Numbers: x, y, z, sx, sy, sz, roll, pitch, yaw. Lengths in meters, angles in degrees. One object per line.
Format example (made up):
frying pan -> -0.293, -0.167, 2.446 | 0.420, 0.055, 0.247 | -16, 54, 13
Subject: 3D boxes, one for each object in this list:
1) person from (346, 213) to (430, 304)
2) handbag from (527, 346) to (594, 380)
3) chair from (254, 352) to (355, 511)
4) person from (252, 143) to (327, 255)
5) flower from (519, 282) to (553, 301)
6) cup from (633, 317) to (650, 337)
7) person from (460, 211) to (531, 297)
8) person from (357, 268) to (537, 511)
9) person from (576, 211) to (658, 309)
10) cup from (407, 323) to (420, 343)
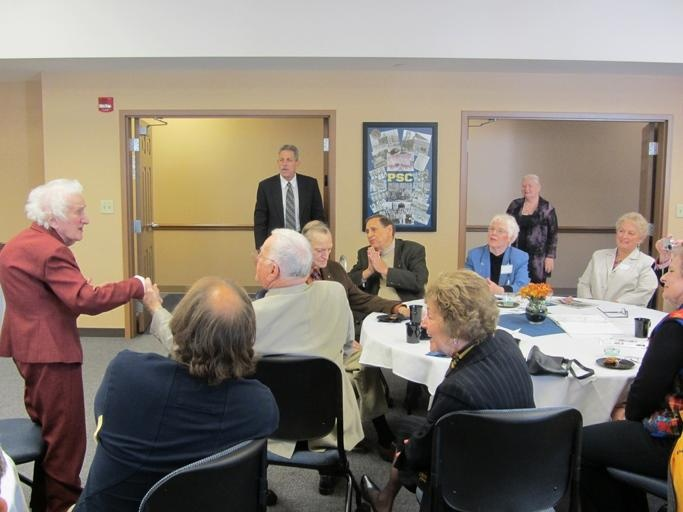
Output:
person -> 0.349, 0.215, 4.170 | 0.546, 0.998, 0.457 | 0, -1, 11
handbag -> 1.022, 0.484, 2.575 | 0.211, 0.084, 0.163 | 0, -1, 20
chair -> -0.154, 0.694, 2.338 | 0.445, 0.696, 0.533 | 1, 4, 8
person -> -0.516, -0.203, 5.594 | 0.686, 1.772, 0.551 | -6, 24, -17
flower -> 1.148, 0.204, 3.161 | 0.117, 0.088, 0.120 | -3, 5, -20
cup -> 1.641, 0.392, 2.979 | 0.098, 0.104, 0.084 | 1, -1, 23
person -> 1.178, 0.082, 4.168 | 0.500, 0.738, 0.487 | 6, 9, 41
person -> 0.533, 0.455, 2.470 | 0.767, 1.087, 0.669 | 3, 7, 33
person -> 2.168, 0.061, 4.300 | 0.455, 0.789, 0.582 | 1, 5, -37
cup -> 0.378, 0.409, 2.870 | 0.061, 0.075, 0.098 | 1, 7, -2
